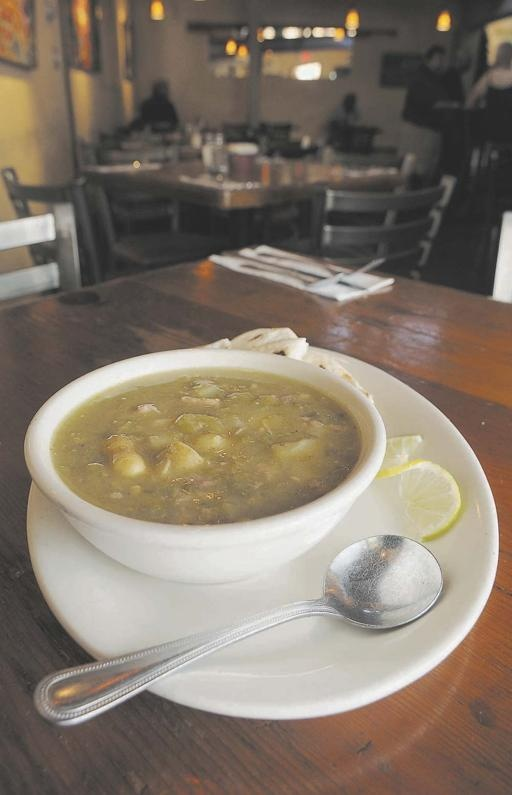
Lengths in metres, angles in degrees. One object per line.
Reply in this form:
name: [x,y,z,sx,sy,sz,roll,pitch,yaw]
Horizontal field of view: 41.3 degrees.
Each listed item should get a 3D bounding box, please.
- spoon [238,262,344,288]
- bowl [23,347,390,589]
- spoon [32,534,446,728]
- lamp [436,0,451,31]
spoon: [0.050,-0.262,1.447,0.165,0.026,0.088,15,21,27]
bowl: [0.004,0.053,0.545,0.247,0.084,0.247,0,26,0]
spoon: [0.048,0.170,0.530,0.413,0.042,0.090,-7,70,-29]
lamp: [1.408,-2.814,5.070,0.047,0.157,0.136,-15,32,-28]
